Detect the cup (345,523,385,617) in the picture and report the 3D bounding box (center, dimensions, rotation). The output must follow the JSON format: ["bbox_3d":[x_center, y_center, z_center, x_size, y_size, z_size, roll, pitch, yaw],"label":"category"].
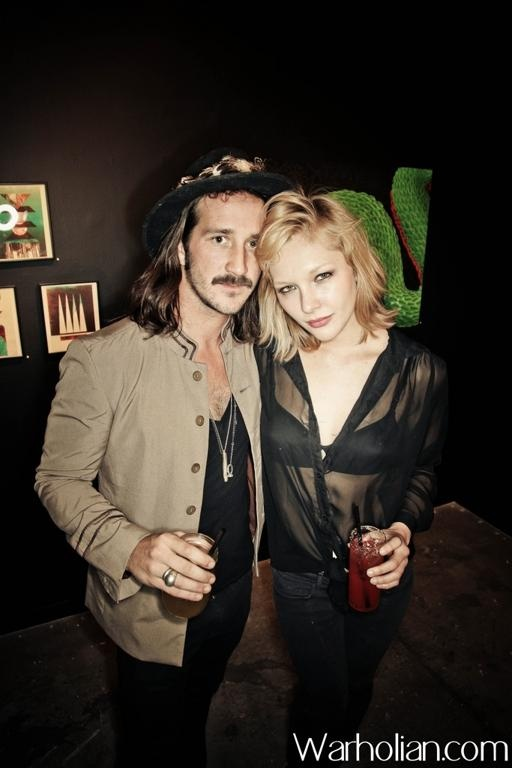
[{"bbox_3d":[0.324,0.566,1.779,0.096,0.260,0.075,-2,12,9],"label":"cup"}]

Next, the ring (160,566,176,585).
[{"bbox_3d":[-0.219,0.463,1.438,0.029,0.036,0.017,2,-26,0],"label":"ring"}]

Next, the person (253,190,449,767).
[{"bbox_3d":[0.297,0.466,2.013,0.614,2.163,0.546,0,13,15],"label":"person"}]
